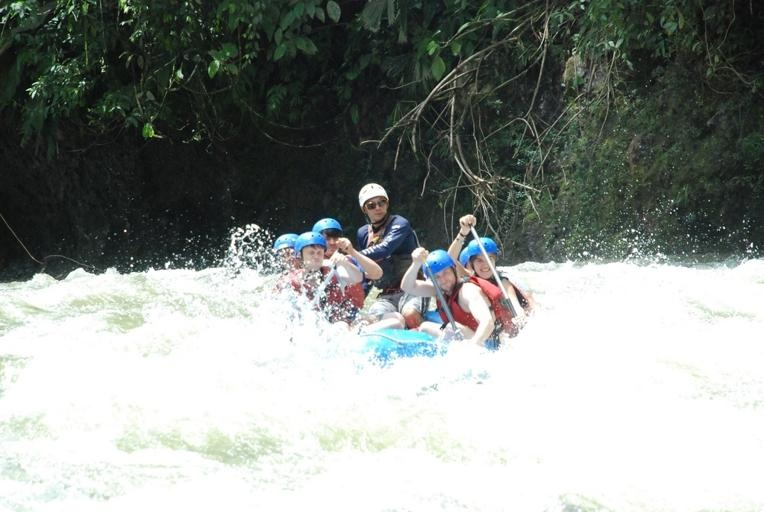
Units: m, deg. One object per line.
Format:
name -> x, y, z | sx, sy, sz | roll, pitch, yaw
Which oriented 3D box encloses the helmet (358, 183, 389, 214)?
helmet -> -0.109, -0.752, 9.388 | 0.319, 0.359, 0.428 | -8, 14, -5
